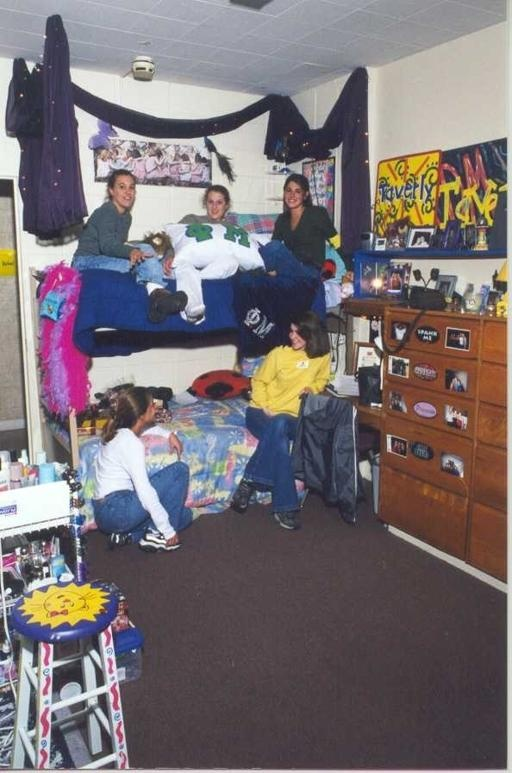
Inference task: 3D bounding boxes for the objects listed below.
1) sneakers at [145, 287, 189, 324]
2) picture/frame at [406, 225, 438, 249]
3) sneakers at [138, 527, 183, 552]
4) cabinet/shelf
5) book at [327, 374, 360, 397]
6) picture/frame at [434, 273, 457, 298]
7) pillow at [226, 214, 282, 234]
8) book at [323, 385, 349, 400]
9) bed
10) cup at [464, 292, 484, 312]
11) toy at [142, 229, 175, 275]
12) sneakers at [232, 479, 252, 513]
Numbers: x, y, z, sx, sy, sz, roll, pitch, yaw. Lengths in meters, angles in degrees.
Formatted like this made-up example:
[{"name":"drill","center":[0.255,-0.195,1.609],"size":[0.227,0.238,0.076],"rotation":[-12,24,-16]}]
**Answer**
[{"name":"sneakers","center":[-0.355,-0.337,2.361],"size":[0.165,0.100,0.167],"rotation":[-30,34,-14]},{"name":"picture/frame","center":[0.735,-0.660,2.536],"size":[0.025,0.105,0.108],"rotation":[4,14,-30]},{"name":"sneakers","center":[-0.379,0.604,2.265],"size":[0.174,0.090,0.070],"rotation":[0,35,-14]},{"name":"cabinet/shelf","center":[0.676,0.248,2.233],"size":[0.309,1.012,1.016],"rotation":[-1,5,-23]},{"name":"book","center":[0.440,0.000,2.794],"size":[0.102,0.041,0.110],"rotation":[-2,29,-17]},{"name":"picture/frame","center":[0.823,-0.439,2.468],"size":[0.094,0.093,0.104],"rotation":[-11,18,-39]},{"name":"pillow","center":[0.013,-0.780,2.720],"size":[0.191,0.120,0.066],"rotation":[-7,26,-40]},{"name":"book","center":[0.378,0.025,2.751],"size":[0.071,0.027,0.070],"rotation":[36,25,32]},{"name":"bed","center":[-0.199,0.244,2.639],"size":[1.167,0.849,1.254],"rotation":[-7,34,-17]},{"name":"cup","center":[0.862,-0.339,2.266],"size":[0.072,0.098,0.095],"rotation":[6,12,21]},{"name":"toy","center":[-0.415,-0.600,2.468],"size":[0.165,0.189,0.069],"rotation":[-10,-8,-4]},{"name":"sneakers","center":[-0.057,0.497,2.574],"size":[0.070,0.163,0.090],"rotation":[16,12,-1]}]
